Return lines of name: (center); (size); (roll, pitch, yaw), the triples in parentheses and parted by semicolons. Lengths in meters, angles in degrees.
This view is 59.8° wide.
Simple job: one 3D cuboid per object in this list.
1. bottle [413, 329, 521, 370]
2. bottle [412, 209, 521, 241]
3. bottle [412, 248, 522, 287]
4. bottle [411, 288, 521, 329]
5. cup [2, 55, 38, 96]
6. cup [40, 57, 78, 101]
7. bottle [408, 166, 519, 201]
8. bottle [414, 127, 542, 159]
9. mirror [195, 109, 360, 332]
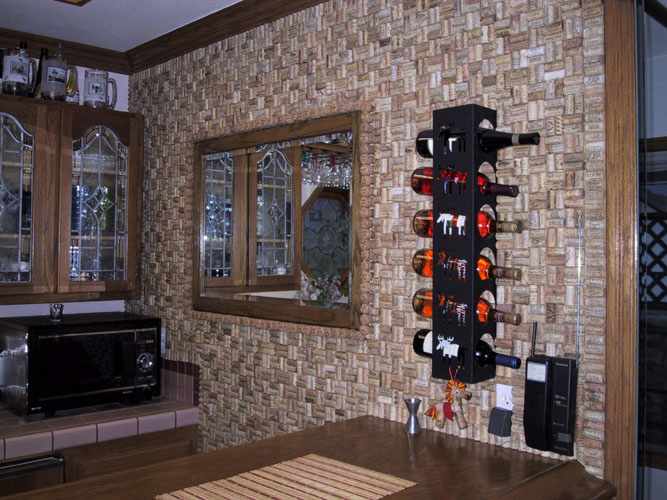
bottle: (0.461, 0.346, 2.074); (0.406, 0.105, 0.107); (2, 6, 36)
bottle: (0.471, -0.093, 2.108); (0.432, 0.145, 0.135); (3, 5, 30)
bottle: (0.496, 0.067, 2.059); (0.317, 0.114, 0.102); (4, -2, 38)
bottle: (0.464, 0.217, 2.106); (0.169, 0.145, 0.477); (-6, 7, -44)
cup: (-1.693, -0.943, 3.196); (0.109, 0.219, 0.274); (-1, 5, 5)
cup: (-1.536, -0.945, 3.244); (0.229, 0.266, 0.146); (0, 2, -19)
bottle: (0.463, -0.244, 2.086); (0.369, 0.116, 0.156); (-1, 5, 12)
bottle: (0.504, -0.389, 2.056); (0.450, 0.103, 0.143); (2, 6, 34)
mirror: (-0.316, -0.155, 2.827); (0.998, 0.941, 0.071); (1, 3, 32)
